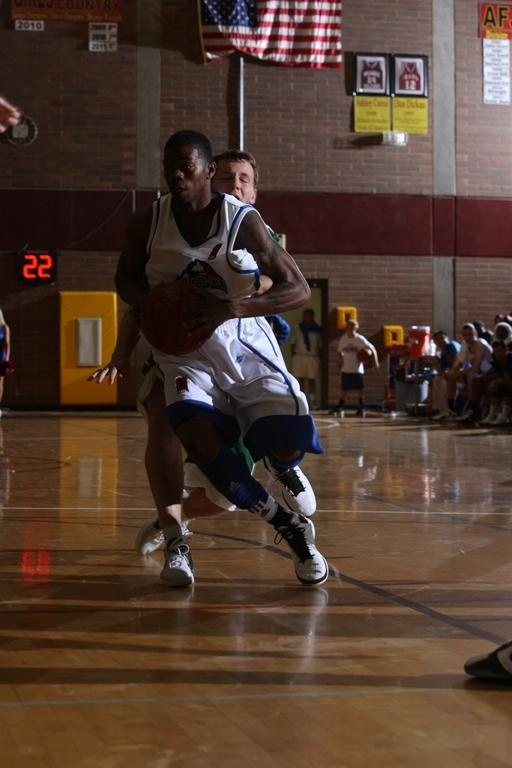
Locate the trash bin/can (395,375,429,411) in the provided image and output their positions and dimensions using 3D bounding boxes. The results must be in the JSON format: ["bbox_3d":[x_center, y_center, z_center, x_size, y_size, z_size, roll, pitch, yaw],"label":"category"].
[{"bbox_3d":[2.379,0.146,11.821,0.357,0.487,0.511,1,9,-33],"label":"trash bin/can"}]

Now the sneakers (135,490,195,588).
[{"bbox_3d":[-0.293,0.495,2.311,0.123,0.141,0.336,4,18,-13],"label":"sneakers"}]

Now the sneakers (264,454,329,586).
[{"bbox_3d":[0.089,0.421,2.332,0.137,0.402,0.168,-25,-24,14],"label":"sneakers"}]

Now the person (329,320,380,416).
[{"bbox_3d":[1.628,-0.288,12.618,0.657,1.508,1.406,1,3,7],"label":"person"}]

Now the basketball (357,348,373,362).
[{"bbox_3d":[1.778,-0.475,12.463,0.236,0.201,0.223,4,1,19],"label":"basketball"}]

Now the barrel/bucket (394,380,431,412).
[{"bbox_3d":[2.364,0.176,11.846,0.350,0.478,0.530,3,3,-10],"label":"barrel/bucket"}]

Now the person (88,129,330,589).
[{"bbox_3d":[-0.116,-0.088,2.256,0.658,1.271,0.417,0,3,-9],"label":"person"}]
